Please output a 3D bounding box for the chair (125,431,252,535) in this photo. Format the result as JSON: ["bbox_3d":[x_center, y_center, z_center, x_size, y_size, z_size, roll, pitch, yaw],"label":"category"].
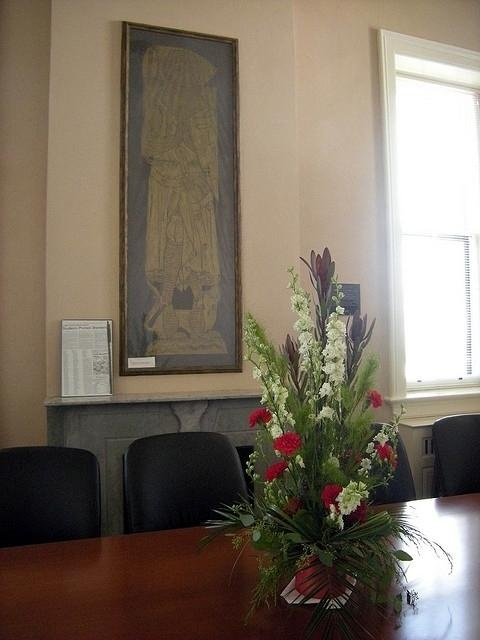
[{"bbox_3d":[-0.178,0.562,1.943,0.338,0.600,0.370,2,-22,-12],"label":"chair"}]
